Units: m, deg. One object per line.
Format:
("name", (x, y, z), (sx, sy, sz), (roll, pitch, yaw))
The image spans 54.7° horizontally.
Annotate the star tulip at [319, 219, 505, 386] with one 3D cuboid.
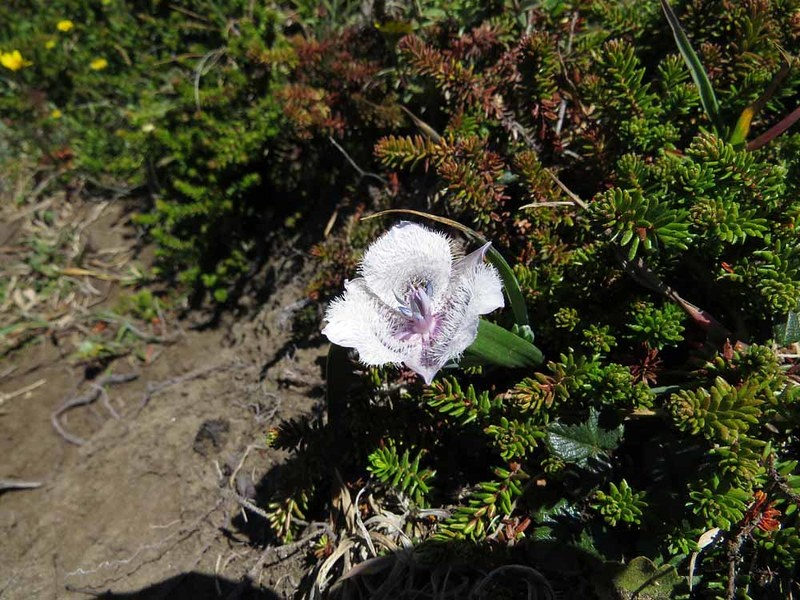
("star tulip", (0.096, -0.022, 4.091), (0.777, 0.906, 0.398), (45, -7, 24))
